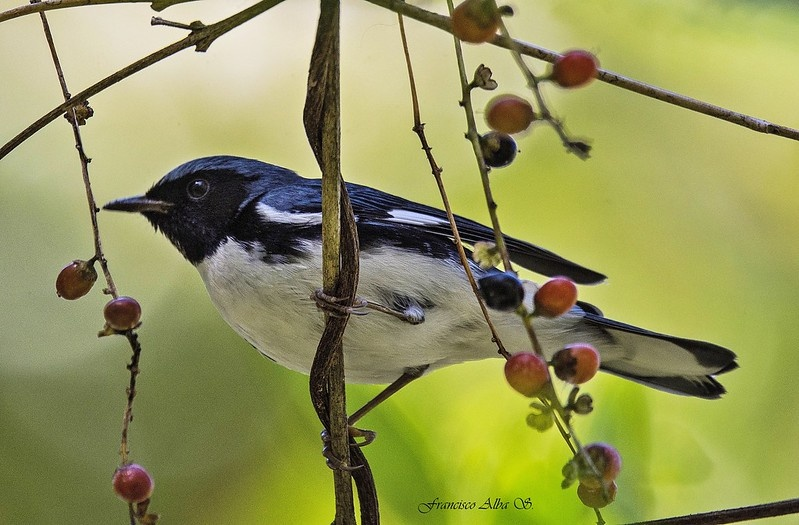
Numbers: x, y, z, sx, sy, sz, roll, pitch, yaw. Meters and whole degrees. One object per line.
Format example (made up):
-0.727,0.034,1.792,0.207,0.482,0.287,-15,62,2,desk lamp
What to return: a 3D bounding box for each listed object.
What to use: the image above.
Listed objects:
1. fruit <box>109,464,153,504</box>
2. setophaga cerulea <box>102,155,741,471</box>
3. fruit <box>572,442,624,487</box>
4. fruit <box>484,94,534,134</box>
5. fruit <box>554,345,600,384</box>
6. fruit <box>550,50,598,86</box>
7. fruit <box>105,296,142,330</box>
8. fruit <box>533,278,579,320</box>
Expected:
-0.477,0.397,1.725,0.066,0.067,0.079,-2,-84,36,fruit
0.198,0.016,2.249,1.618,0.643,0.527,7,-90,3,setophaga cerulea
0.326,0.325,1.526,0.079,0.060,0.060,1,-89,45,fruit
0.185,-0.247,1.570,0.075,0.042,0.058,0,-91,9,fruit
0.288,0.163,1.529,0.072,0.054,0.054,-8,-66,14,fruit
0.283,-0.312,1.516,0.071,0.043,0.052,8,-49,-8,fruit
-0.497,0.095,1.693,0.060,0.059,0.058,1,-34,-18,fruit
0.257,0.059,1.539,0.072,0.051,0.042,-27,-38,-2,fruit
